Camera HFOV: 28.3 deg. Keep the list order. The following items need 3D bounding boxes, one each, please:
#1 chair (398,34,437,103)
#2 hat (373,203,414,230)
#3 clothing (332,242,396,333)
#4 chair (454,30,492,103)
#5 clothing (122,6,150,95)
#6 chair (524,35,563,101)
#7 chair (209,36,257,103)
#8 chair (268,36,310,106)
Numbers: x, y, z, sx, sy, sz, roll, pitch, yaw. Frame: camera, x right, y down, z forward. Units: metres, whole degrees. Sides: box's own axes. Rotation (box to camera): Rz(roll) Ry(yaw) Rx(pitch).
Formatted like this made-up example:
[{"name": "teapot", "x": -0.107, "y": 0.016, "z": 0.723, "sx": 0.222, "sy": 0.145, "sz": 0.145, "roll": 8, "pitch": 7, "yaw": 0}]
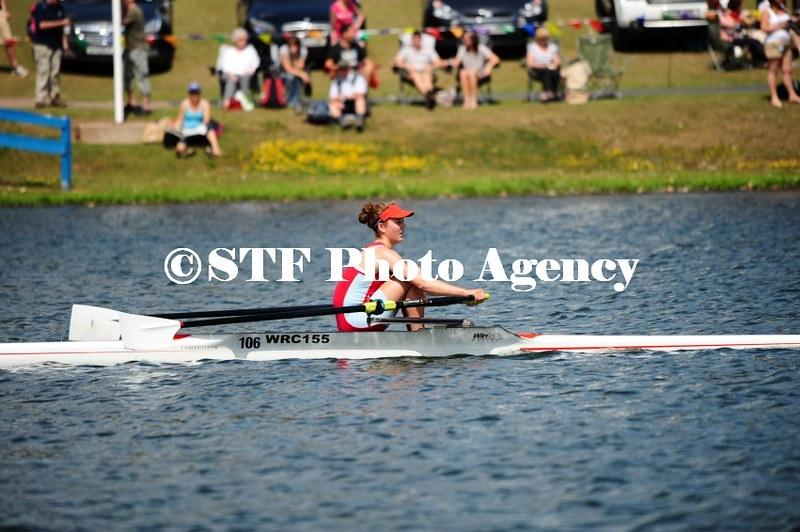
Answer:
[{"name": "chair", "x": 0.415, "y": -4.668, "z": 37.353, "sx": 0.929, "sy": 0.849, "sz": 1.533, "roll": -1, "pitch": 60, "yaw": -2}, {"name": "hat", "x": -0.136, "y": -0.837, "z": 26.529, "sx": 0.577, "sy": 0.179, "sz": 0.336, "roll": -13, "pitch": -1, "yaw": 15}, {"name": "clothing", "x": -0.701, "y": 0.378, "z": 26.478, "sx": 0.867, "sy": 1.518, "sz": 0.449, "roll": -3, "pitch": 15, "yaw": -2}, {"name": "chair", "x": 1.619, "y": -4.640, "z": 37.326, "sx": 1.124, "sy": 1.682, "sz": 1.024, "roll": 3, "pitch": 25, "yaw": 16}, {"name": "clothing", "x": -6.221, "y": -5.032, "z": 37.176, "sx": 0.618, "sy": 2.097, "sz": 0.796, "roll": -6, "pitch": 15, "yaw": -9}, {"name": "chair", "x": 3.320, "y": -4.713, "z": 37.439, "sx": 0.722, "sy": 1.793, "sz": 1.025, "roll": 4, "pitch": 16, "yaw": 24}, {"name": "chair", "x": -3.742, "y": -4.550, "z": 36.766, "sx": 0.985, "sy": 1.161, "sz": 2.123, "roll": -3, "pitch": 34, "yaw": 0}, {"name": "chair", "x": -2.558, "y": -4.524, "z": 37.185, "sx": 0.696, "sy": 1.733, "sz": 0.773, "roll": 1, "pitch": 16, "yaw": 16}]
